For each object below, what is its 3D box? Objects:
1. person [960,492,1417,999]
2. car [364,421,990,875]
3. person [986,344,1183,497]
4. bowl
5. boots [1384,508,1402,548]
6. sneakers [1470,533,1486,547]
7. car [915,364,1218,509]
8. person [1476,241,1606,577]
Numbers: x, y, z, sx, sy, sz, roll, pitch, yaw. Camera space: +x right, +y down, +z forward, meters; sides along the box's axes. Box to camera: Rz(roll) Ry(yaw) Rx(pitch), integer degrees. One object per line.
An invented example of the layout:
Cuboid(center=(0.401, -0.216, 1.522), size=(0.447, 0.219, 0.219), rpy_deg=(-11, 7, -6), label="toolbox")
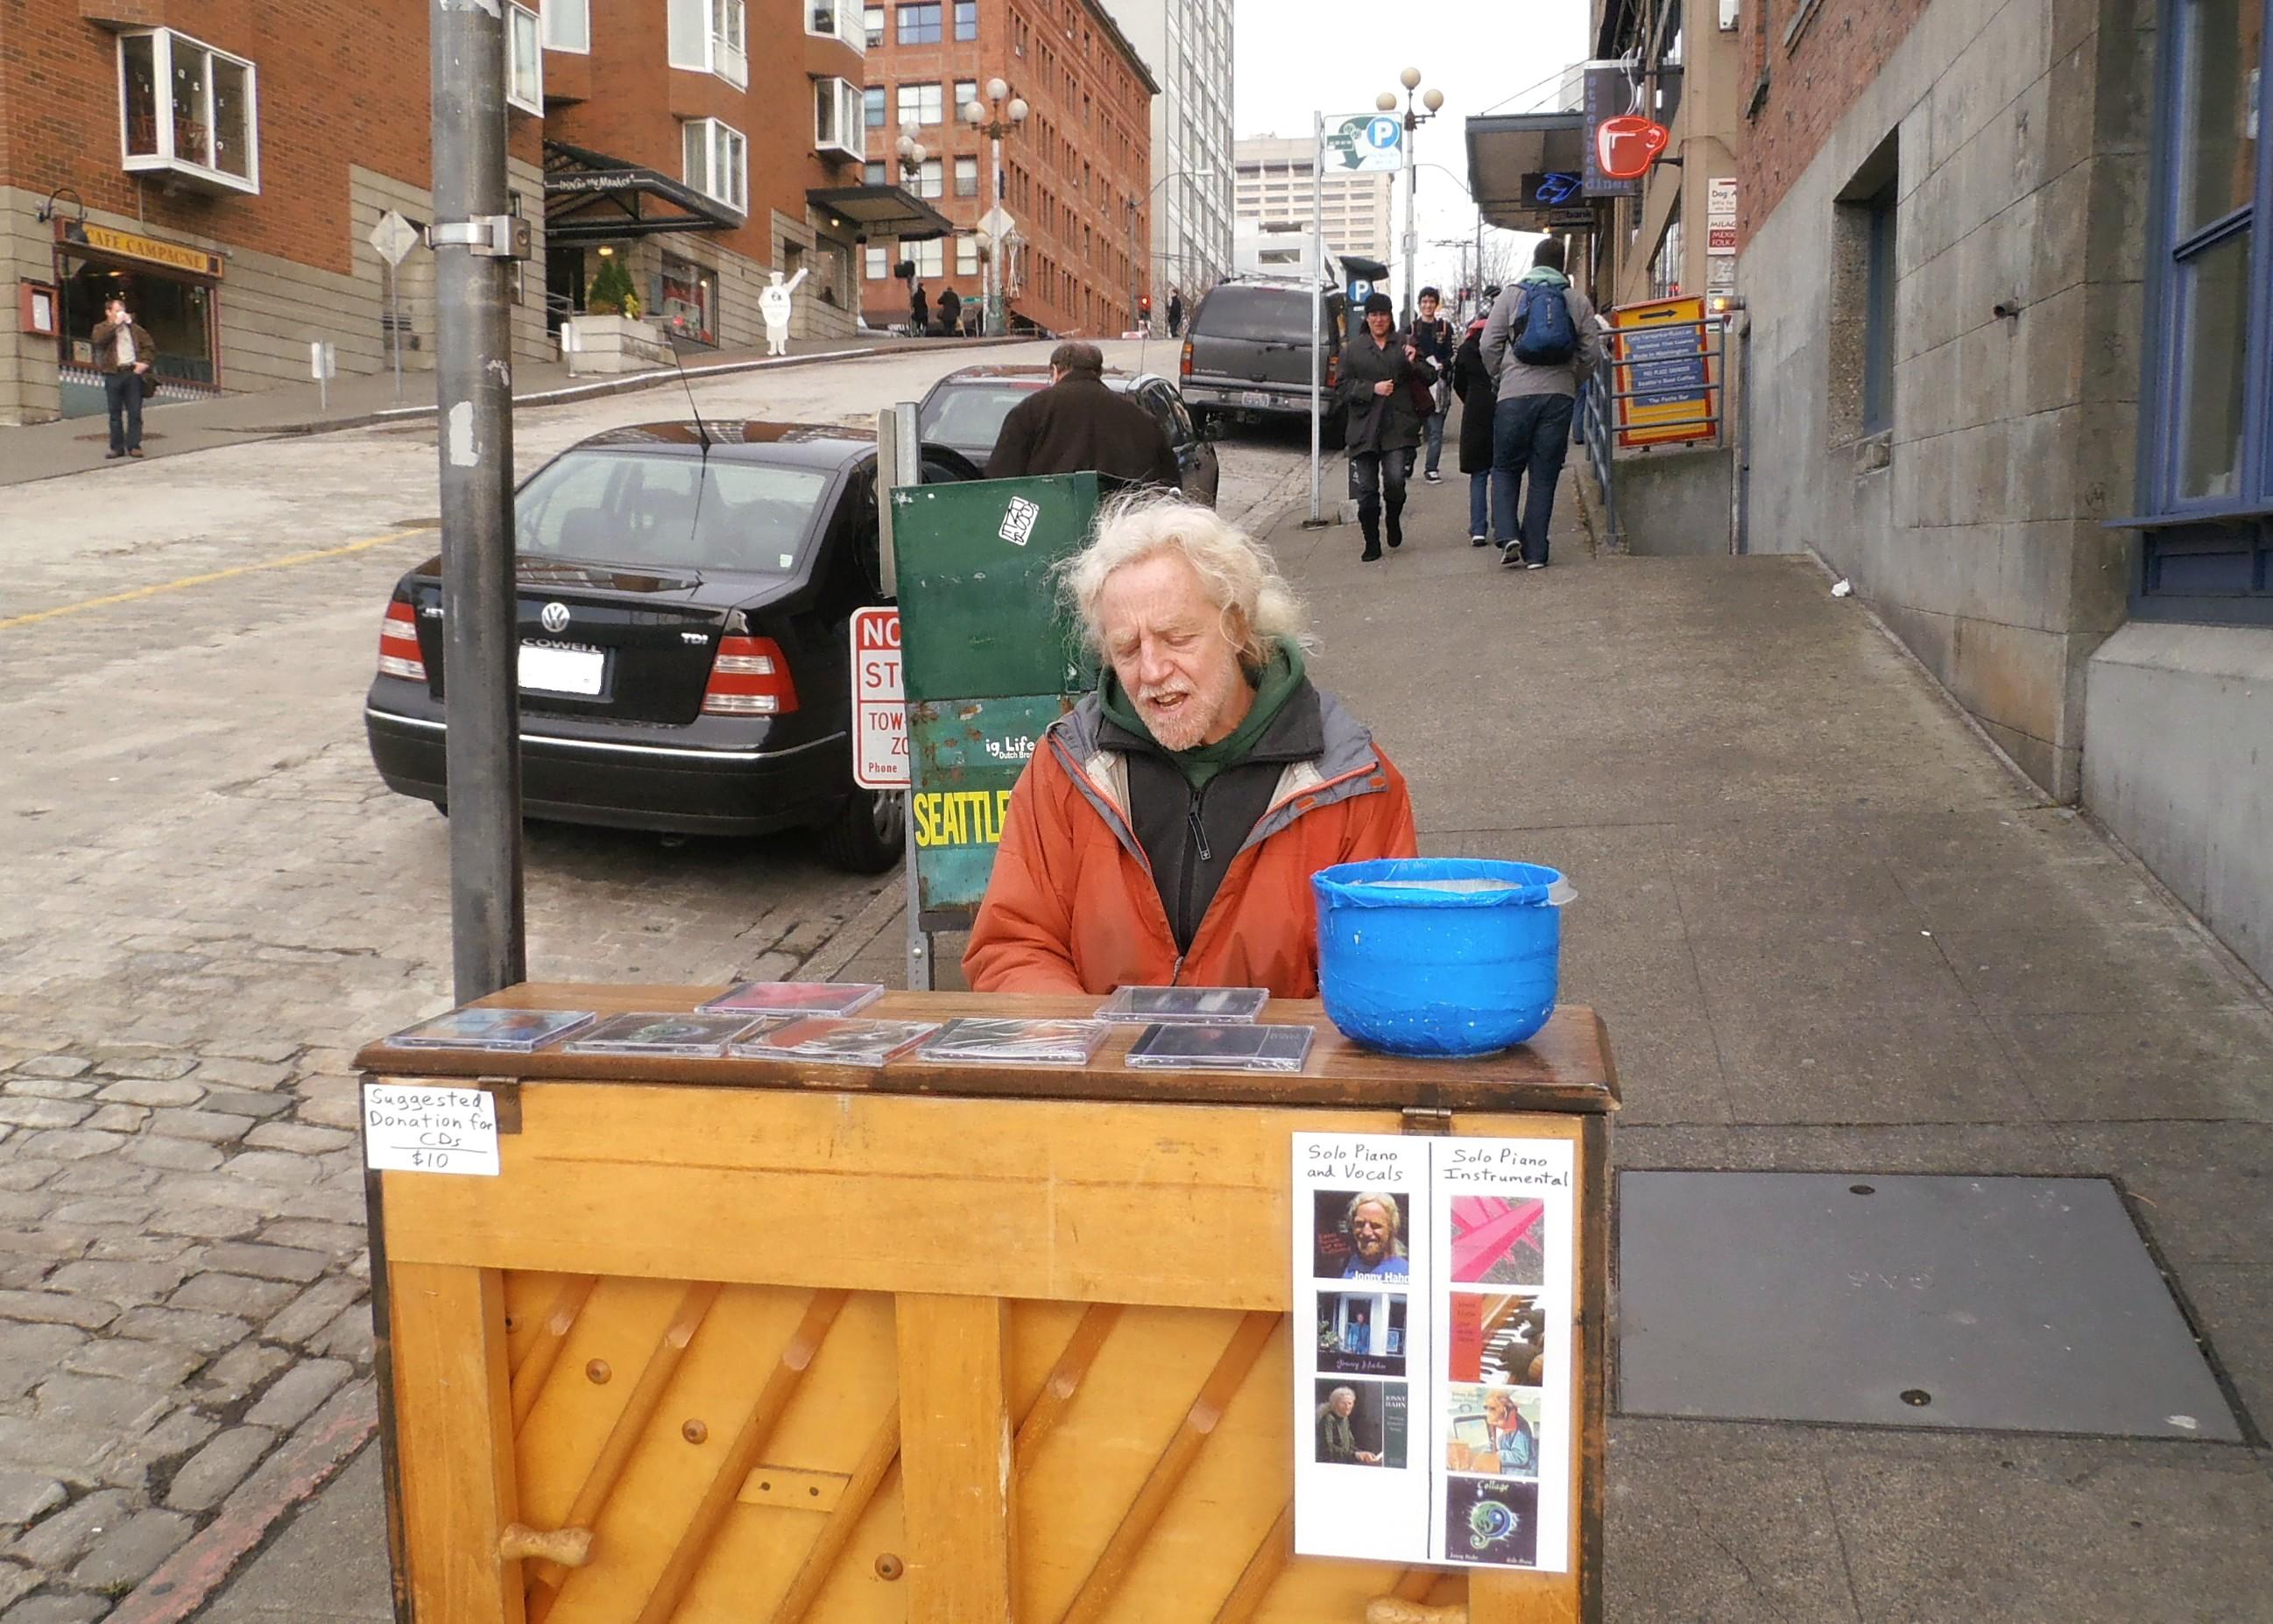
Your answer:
Cuboid(center=(0.094, -0.143, 4.058), size=(0.937, 1.028, 0.387), rpy_deg=(-1, 6, -2), label="person")
Cuboid(center=(-1.932, -0.734, 8.654), size=(1.623, 2.076, 1.328), rpy_deg=(-1, 6, -3), label="car")
Cuboid(center=(-0.293, -2.114, 10.099), size=(0.951, 0.733, 0.409), rpy_deg=(-2, 6, -3), label="person")
Cuboid(center=(0.462, 0.234, 3.070), size=(0.387, 0.292, 0.394), rpy_deg=(0, 2, 0), label="bowl")
Cuboid(center=(2.133, -2.353, 15.936), size=(0.108, 0.365, 0.228), rpy_deg=(-3, 1, 3), label="boots")
Cuboid(center=(2.821, -2.265, 15.851), size=(0.112, 0.171, 0.361), rpy_deg=(-3, 2, 8), label="sneakers")
Cuboid(center=(-0.748, -3.005, 14.894), size=(1.456, 1.188, 3.068), rpy_deg=(4, 20, 16), label="car")
Cuboid(center=(2.979, -3.072, 14.228), size=(0.777, 2.480, 1.232), rpy_deg=(0, 6, 10), label="person")
